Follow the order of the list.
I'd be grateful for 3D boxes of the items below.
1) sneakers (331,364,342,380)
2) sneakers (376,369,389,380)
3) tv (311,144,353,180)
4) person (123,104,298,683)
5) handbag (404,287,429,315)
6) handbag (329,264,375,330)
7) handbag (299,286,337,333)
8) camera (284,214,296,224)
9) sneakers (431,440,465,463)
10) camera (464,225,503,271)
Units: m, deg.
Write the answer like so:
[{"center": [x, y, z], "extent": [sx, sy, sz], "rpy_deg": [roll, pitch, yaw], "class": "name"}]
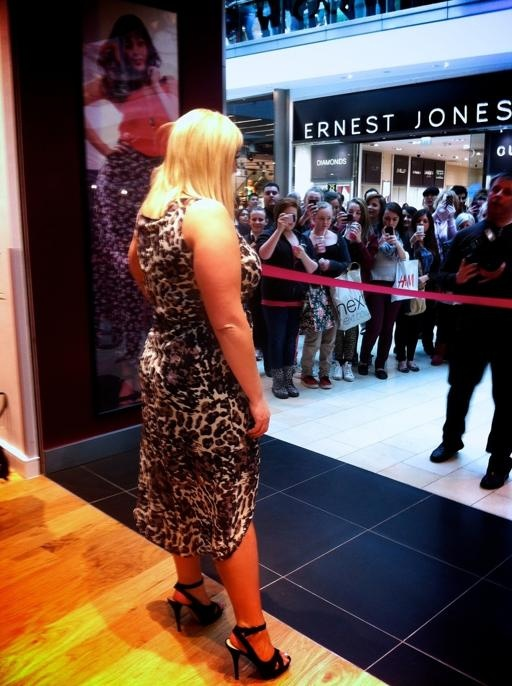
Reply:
[{"center": [0.741, 0.269, 4.818], "extent": [0.064, 0.075, 0.182], "rpy_deg": [0, 22, 5], "class": "sneakers"}, {"center": [1.157, 0.293, 4.840], "extent": [0.094, 0.066, 0.180], "rpy_deg": [-4, -3, 5], "class": "sneakers"}, {"center": [1.443, -3.451, 9.893], "extent": [0.587, 0.501, 0.265], "rpy_deg": [3, 13, 23], "class": "tv"}, {"center": [-0.106, 0.169, 1.272], "extent": [0.337, 1.374, 0.454], "rpy_deg": [-3, 8, -28], "class": "person"}, {"center": [1.509, -0.395, 4.937], "extent": [0.145, 0.244, 0.258], "rpy_deg": [8, 16, 35], "class": "handbag"}, {"center": [0.781, -0.395, 4.338], "extent": [0.479, 0.539, 0.197], "rpy_deg": [-23, 16, -29], "class": "handbag"}, {"center": [0.490, -0.281, 4.271], "extent": [0.379, 0.393, 0.171], "rpy_deg": [-9, 9, -40], "class": "handbag"}, {"center": [0.246, -0.930, 3.917], "extent": [0.072, 0.065, 0.123], "rpy_deg": [-4, 3, 1], "class": "camera"}, {"center": [1.094, 0.612, 3.078], "extent": [0.262, 0.101, 0.086], "rpy_deg": [-15, 25, -31], "class": "sneakers"}, {"center": [1.126, -0.452, 2.559], "extent": [0.080, 0.179, 0.182], "rpy_deg": [-26, 62, -34], "class": "camera"}]
